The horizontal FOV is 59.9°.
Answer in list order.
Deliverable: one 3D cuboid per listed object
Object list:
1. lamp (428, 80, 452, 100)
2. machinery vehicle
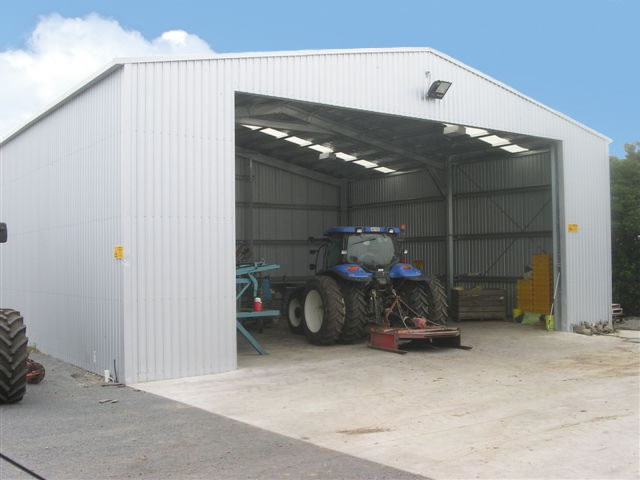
[{"bbox_3d":[2.496,-3.044,11.257,0.580,0.384,0.319,0,0,-34],"label":"lamp"},{"bbox_3d":[0.692,1.020,13.180,3.005,2.348,4.156,-2,-2,-23],"label":"machinery vehicle"}]
